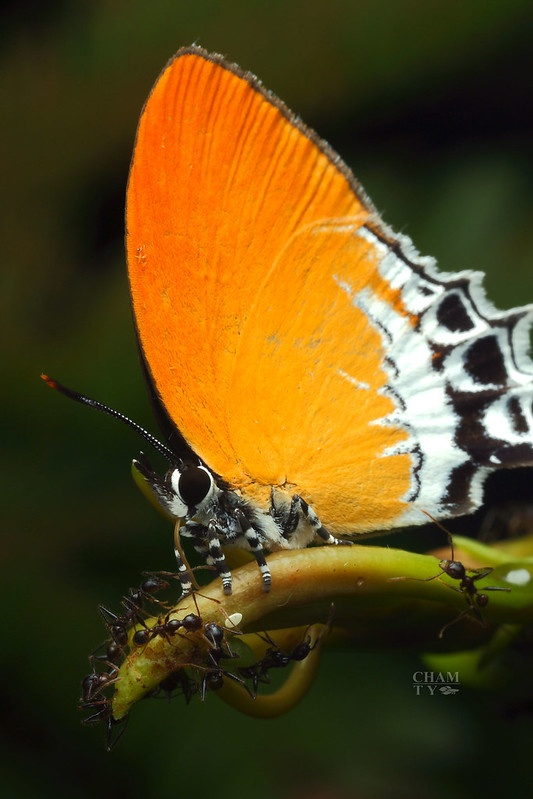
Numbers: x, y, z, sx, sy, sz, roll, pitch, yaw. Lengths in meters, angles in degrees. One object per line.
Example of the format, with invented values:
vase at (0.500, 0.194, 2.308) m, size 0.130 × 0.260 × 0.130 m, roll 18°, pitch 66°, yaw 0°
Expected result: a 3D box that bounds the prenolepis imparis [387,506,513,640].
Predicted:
prenolepis imparis at (0.311, 0.303, 1.374) m, size 0.147 × 0.188 × 0.055 m, roll -51°, pitch 20°, yaw 1°
